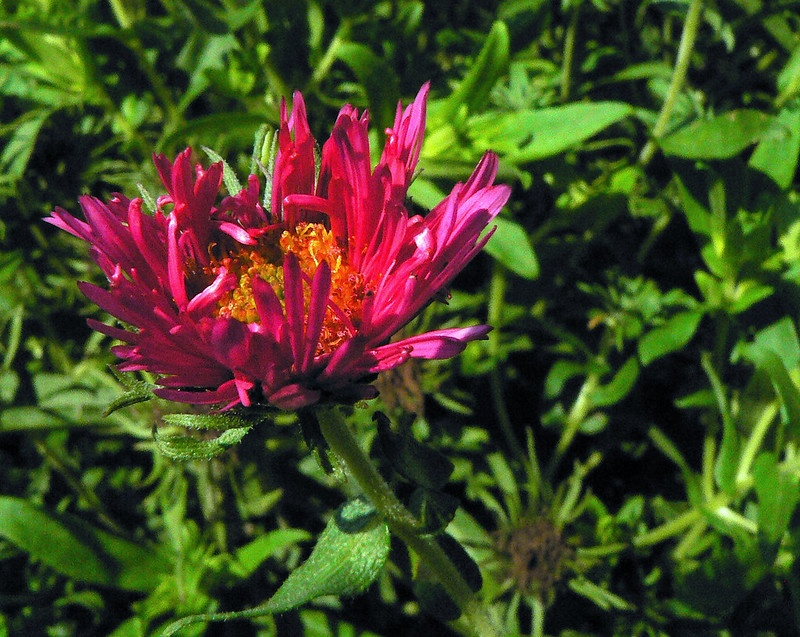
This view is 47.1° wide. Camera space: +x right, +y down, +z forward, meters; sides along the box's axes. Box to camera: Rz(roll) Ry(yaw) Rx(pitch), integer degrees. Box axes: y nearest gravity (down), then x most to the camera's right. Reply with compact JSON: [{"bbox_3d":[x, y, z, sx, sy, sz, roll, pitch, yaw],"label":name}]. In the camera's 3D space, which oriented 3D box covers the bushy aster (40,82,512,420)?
[{"bbox_3d":[-0.083,-0.025,0.861,0.352,0.152,0.343,1,45,8],"label":"bushy aster"}]
